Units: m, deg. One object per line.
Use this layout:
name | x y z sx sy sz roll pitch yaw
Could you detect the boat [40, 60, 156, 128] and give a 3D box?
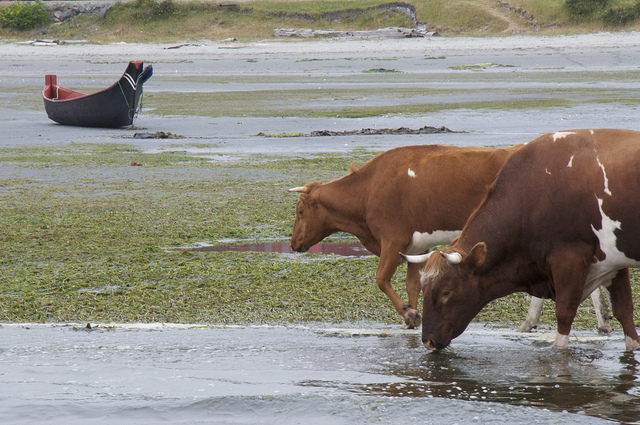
boat | -15.398 -7.435 97.977 9.044 4.313 2.744 -1 9 -16
